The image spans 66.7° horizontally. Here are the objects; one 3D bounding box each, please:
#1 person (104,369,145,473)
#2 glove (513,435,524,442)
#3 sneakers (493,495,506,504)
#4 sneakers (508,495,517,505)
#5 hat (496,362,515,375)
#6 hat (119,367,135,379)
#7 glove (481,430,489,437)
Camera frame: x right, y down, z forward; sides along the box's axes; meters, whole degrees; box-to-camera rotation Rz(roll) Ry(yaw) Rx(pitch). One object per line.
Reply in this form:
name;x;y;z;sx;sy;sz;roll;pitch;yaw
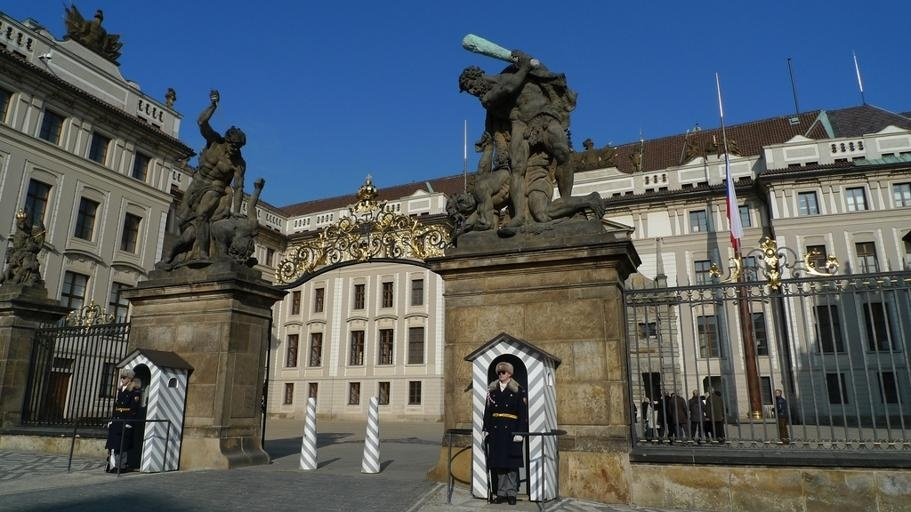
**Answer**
person;-10.434;5.198;21.913;0.720;3.176;0.970;12;-22;-42
glove;1.751;5.118;19.417;0.265;0.177;0.210;-1;-15;-6
sneakers;1.232;6.873;19.518;0.382;0.258;0.125;-3;-16;3
sneakers;1.581;6.879;19.443;0.224;0.221;0.335;2;-6;0
hat;1.381;3.183;19.668;0.352;0.295;0.401;-1;-10;8
hat;-10.466;3.741;22.093;0.363;0.385;0.413;-8;-17;20
glove;0.823;5.060;19.658;0.168;0.065;0.163;-16;-30;33
